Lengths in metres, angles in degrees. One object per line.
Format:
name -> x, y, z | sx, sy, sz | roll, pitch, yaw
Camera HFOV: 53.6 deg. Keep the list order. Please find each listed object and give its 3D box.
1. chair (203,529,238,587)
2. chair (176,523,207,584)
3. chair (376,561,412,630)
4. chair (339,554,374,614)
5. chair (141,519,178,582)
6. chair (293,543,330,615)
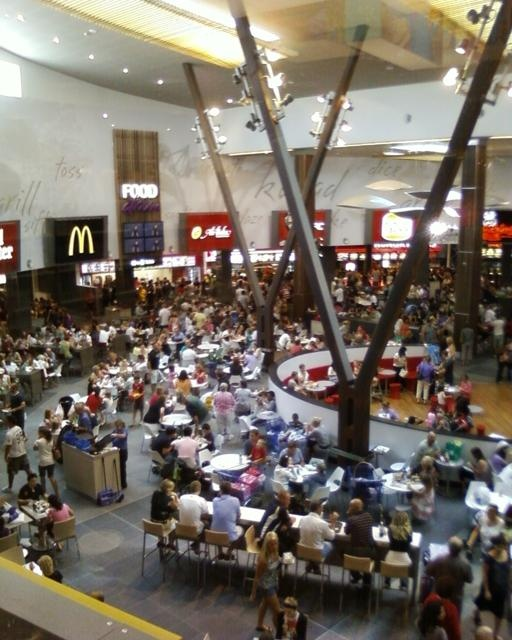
chair -> -0.445, 2.708, 5.953 | 0.364, 0.582, 0.398 | 3, 3, -8
chair -> -0.762, 2.725, 6.081 | 0.371, 0.667, 0.399 | 3, 7, 32
chair -> 1.498, 2.747, 5.413 | 0.320, 0.581, 0.719 | -1, 2, 16
chair -> 1.099, 2.746, 5.365 | 0.388, 0.529, 0.394 | 4, -3, -38
chair -> -1.153, 2.707, 6.121 | 0.361, 0.626, 0.395 | 0, 2, 31
chair -> 0.623, 2.733, 5.687 | 0.335, 0.588, 0.847 | -1, 2, 7
